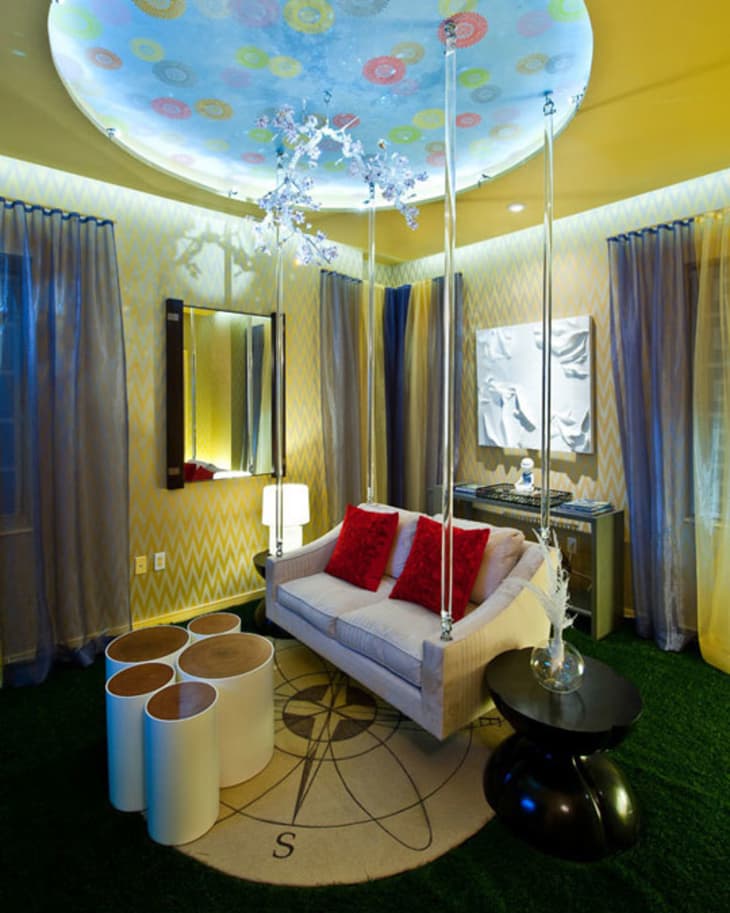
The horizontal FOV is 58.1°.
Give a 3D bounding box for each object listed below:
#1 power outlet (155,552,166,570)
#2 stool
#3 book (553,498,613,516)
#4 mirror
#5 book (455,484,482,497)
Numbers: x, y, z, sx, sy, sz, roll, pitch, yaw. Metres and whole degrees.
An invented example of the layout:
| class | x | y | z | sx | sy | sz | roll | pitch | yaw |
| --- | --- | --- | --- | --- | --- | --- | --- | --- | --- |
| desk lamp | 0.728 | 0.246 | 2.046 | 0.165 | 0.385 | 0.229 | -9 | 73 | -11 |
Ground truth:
| class | x | y | z | sx | sy | sz | roll | pitch | yaw |
| --- | --- | --- | --- | --- | --- | --- | --- | --- | --- |
| power outlet | -1.213 | 0.622 | 3.875 | 0.010 | 0.123 | 0.086 | -4 | -5 | 33 |
| stool | -0.632 | 1.005 | 2.472 | 0.490 | 0.424 | 0.620 | 6 | 11 | 34 |
| book | 1.287 | 0.297 | 3.846 | 0.284 | 0.065 | 0.306 | 9 | 13 | 41 |
| mirror | -0.873 | -0.417 | 4.138 | 0.637 | 1.418 | 0.025 | 1 | -34 | -13 |
| book | 0.702 | 0.235 | 4.532 | 0.159 | 0.064 | 0.352 | 2 | 10 | 9 |
